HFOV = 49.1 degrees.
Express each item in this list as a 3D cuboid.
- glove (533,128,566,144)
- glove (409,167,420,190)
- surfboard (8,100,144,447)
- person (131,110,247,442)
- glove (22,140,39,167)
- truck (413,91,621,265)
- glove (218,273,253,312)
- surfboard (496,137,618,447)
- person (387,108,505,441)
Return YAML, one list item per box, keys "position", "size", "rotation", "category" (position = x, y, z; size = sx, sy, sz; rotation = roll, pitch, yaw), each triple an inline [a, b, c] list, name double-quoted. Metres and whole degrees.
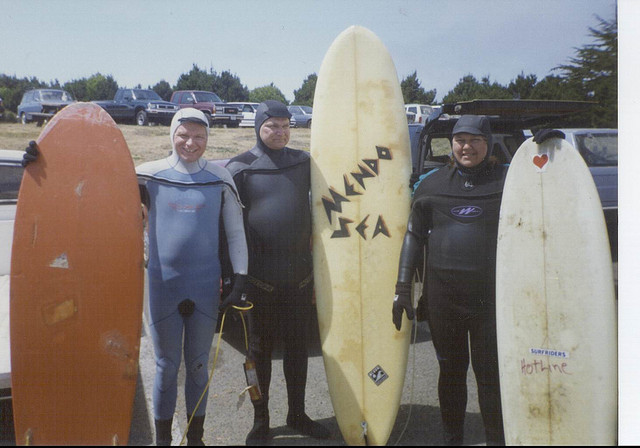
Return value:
- position: [1.552, -0.626, 4.747]
  size: [0.168, 0.060, 0.127]
  rotation: [-4, -10, 10]
  category: "glove"
- position: [0.681, -0.330, 5.129]
  size: [0.041, 0.124, 0.084]
  rotation: [3, 2, 27]
  category: "glove"
- position: [-1.602, 0.440, 4.611]
  size: [0.628, 2.599, 0.357]
  rotation: [-1, 6, -7]
  category: "surfboard"
- position: [-0.868, 0.352, 4.712]
  size: [0.730, 2.225, 0.232]
  rotation: [-1, 2, -17]
  category: "person"
- position: [-1.902, -0.466, 4.590]
  size: [0.087, 0.162, 0.049]
  rotation: [3, -3, -7]
  category: "glove"
- position: [1.336, -0.575, 6.264]
  size: [1.848, 1.163, 1.054]
  rotation: [10, 0, 39]
  category: "truck"
- position: [-0.594, 0.460, 4.669]
  size: [0.077, 0.229, 0.238]
  rotation: [18, 34, -40]
  category: "glove"
- position: [1.575, 0.452, 4.678]
  size: [0.761, 2.094, 0.261]
  rotation: [1, 2, 23]
  category: "surfboard"
- position: [0.883, 0.362, 4.766]
  size: [0.681, 2.199, 0.286]
  rotation: [0, 2, 21]
  category: "person"
